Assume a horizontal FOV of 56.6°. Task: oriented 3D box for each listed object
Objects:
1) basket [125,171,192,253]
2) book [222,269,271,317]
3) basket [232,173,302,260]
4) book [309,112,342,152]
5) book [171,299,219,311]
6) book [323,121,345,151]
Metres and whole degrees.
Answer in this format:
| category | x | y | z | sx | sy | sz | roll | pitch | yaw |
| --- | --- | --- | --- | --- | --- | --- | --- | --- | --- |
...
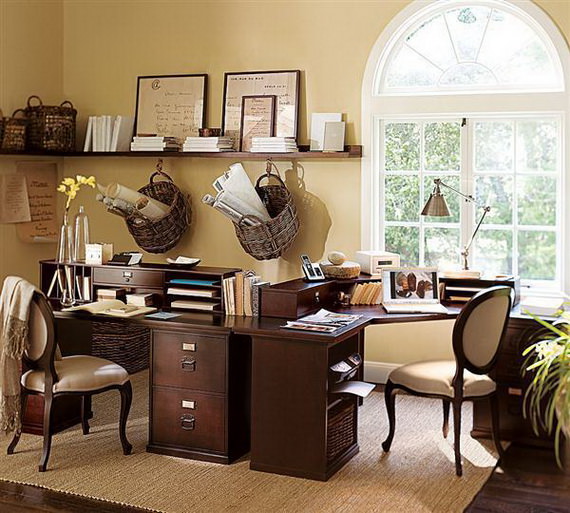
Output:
| category | x | y | z | sx | sy | sz | roll | pitch | yaw |
| --- | --- | --- | --- | --- | --- | --- | --- | --- | --- |
| basket | -1.000 | -0.463 | 4.635 | 0.557 | 0.470 | 0.490 | 5 | -27 | 28 |
| book | -0.241 | 0.171 | 3.069 | 0.224 | 0.289 | 0.301 | 1 | 2 | 25 |
| basket | -0.129 | -0.331 | 4.133 | 0.432 | 0.727 | 0.618 | 1 | 3 | 8 |
| book | 0.276 | -1.033 | 4.074 | 0.281 | 0.303 | 0.069 | 8 | 0 | 40 |
| book | -0.546 | 0.292 | 3.222 | 0.200 | 0.027 | 0.109 | 4 | 3 | 20 |
| book | 0.373 | -0.935 | 4.098 | 0.204 | 0.310 | 0.065 | 1 | -10 | 13 |
